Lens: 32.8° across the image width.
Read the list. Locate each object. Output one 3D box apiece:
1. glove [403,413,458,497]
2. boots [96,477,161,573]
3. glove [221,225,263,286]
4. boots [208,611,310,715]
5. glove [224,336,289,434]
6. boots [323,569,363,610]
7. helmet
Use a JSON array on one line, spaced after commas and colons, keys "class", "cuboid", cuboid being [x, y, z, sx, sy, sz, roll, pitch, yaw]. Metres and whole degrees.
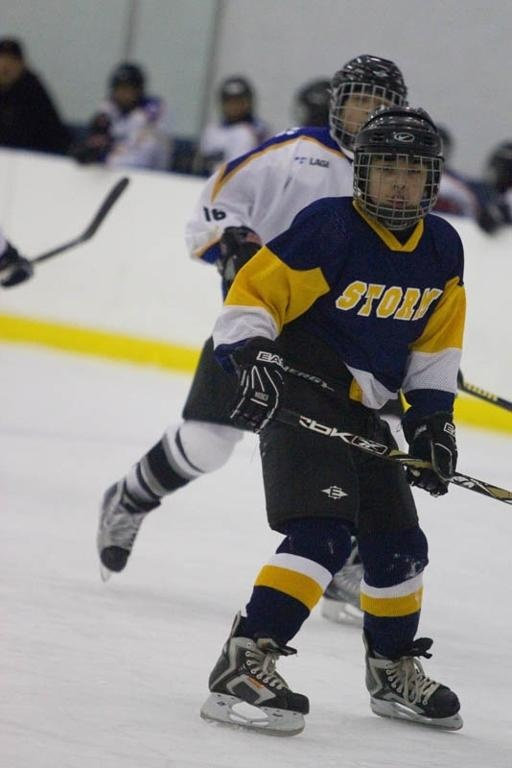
[{"class": "glove", "cuboid": [0.348, 0.129, 1.700, 0.059, 0.161, 0.104, 29, -38, -35]}, {"class": "boots", "cuboid": [-0.328, 0.365, 2.220, 0.139, 0.275, 0.090, -16, -45, 20]}, {"class": "glove", "cuboid": [-0.052, -0.313, 2.113, 0.062, 0.128, 0.112, 1, 16, -28]}, {"class": "boots", "cuboid": [0.016, 0.474, 1.473, 0.174, 0.160, 0.080, 12, 1, 6]}, {"class": "glove", "cuboid": [0.008, -0.002, 1.506, 0.112, 0.149, 0.043, 24, -10, -20]}, {"class": "boots", "cuboid": [0.230, 0.522, 2.243, 0.102, 0.044, 0.153, 7, 7, 11]}, {"class": "helmet", "cuboid": [0.269, -0.634, 2.204, 0.366, 0.364, 0.423, 3, 4, -10]}]
